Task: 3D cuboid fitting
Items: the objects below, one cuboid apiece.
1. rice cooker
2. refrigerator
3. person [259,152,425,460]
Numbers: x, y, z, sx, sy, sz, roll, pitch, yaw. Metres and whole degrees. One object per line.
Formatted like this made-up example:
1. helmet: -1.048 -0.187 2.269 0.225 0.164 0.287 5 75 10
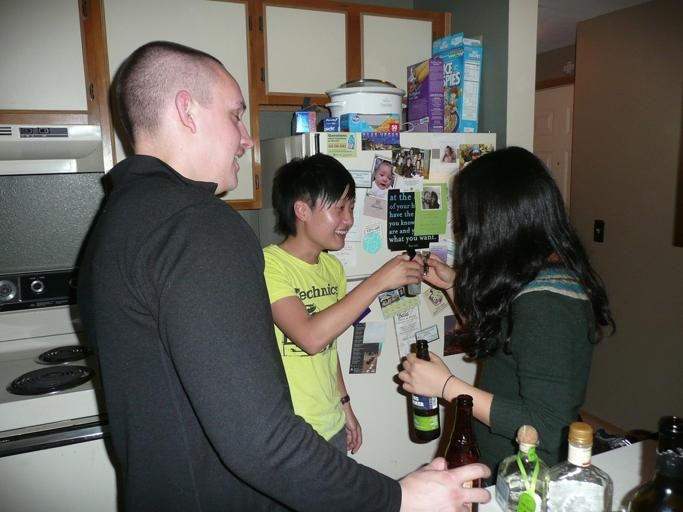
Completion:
1. rice cooker: 0.103 -0.627 2.386 0.358 0.250 0.350 -2 15 -30
2. refrigerator: 0.120 0.010 2.414 1.015 1.979 0.809 -4 7 -17
3. person: -0.051 0.241 2.021 0.583 1.205 0.484 -5 8 -26
